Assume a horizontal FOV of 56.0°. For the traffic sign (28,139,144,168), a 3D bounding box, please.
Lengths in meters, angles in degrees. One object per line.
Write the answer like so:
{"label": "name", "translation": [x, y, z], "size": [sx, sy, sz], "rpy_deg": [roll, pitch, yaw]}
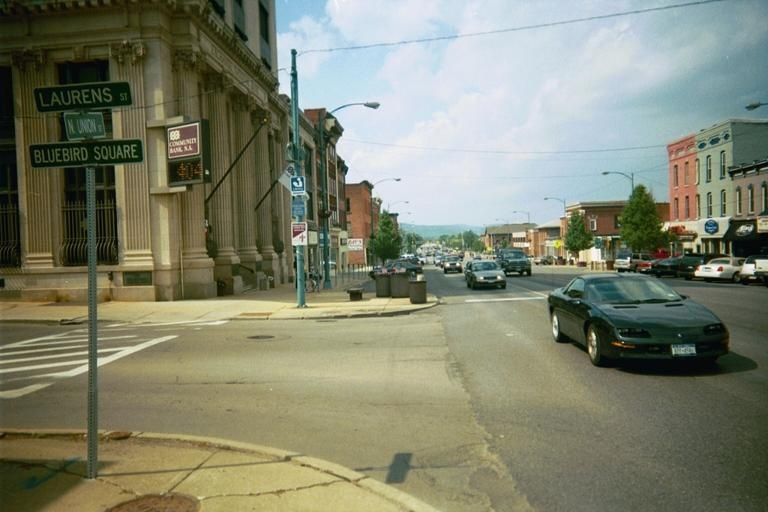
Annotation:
{"label": "traffic sign", "translation": [-5.747, -1.943, 13.824], "size": [2.169, 0.507, 0.484], "rpy_deg": [1, 14, 7]}

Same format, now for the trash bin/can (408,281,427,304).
{"label": "trash bin/can", "translation": [1.353, 1.338, 29.715], "size": [0.679, 0.950, 1.309], "rpy_deg": [-1, 2, 3]}

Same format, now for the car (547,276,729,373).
{"label": "car", "translation": [6.161, 1.634, 17.995], "size": [2.472, 1.772, 4.207], "rpy_deg": [-9, 16, -28]}

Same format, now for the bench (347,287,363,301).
{"label": "bench", "translation": [-1.260, 1.632, 30.991], "size": [0.566, 0.535, 0.807], "rpy_deg": [-1, 14, 1]}

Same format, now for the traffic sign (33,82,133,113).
{"label": "traffic sign", "translation": [-5.740, -2.985, 13.691], "size": [1.783, 0.530, 0.306], "rpy_deg": [-1, 14, 1]}

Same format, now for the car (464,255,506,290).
{"label": "car", "translation": [5.275, 1.188, 37.513], "size": [1.576, 1.455, 3.103], "rpy_deg": [-2, 14, -4]}

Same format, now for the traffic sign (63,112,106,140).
{"label": "traffic sign", "translation": [-5.731, -2.456, 13.753], "size": [0.581, 0.441, 0.080], "rpy_deg": [-3, 3, -10]}

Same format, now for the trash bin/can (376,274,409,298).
{"label": "trash bin/can", "translation": [0.354, 1.287, 32.477], "size": [1.554, 1.090, 0.842], "rpy_deg": [2, 14, 15]}

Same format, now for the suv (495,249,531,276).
{"label": "suv", "translation": [9.178, 0.353, 51.078], "size": [1.631, 1.585, 3.336], "rpy_deg": [-1, -6, -2]}
